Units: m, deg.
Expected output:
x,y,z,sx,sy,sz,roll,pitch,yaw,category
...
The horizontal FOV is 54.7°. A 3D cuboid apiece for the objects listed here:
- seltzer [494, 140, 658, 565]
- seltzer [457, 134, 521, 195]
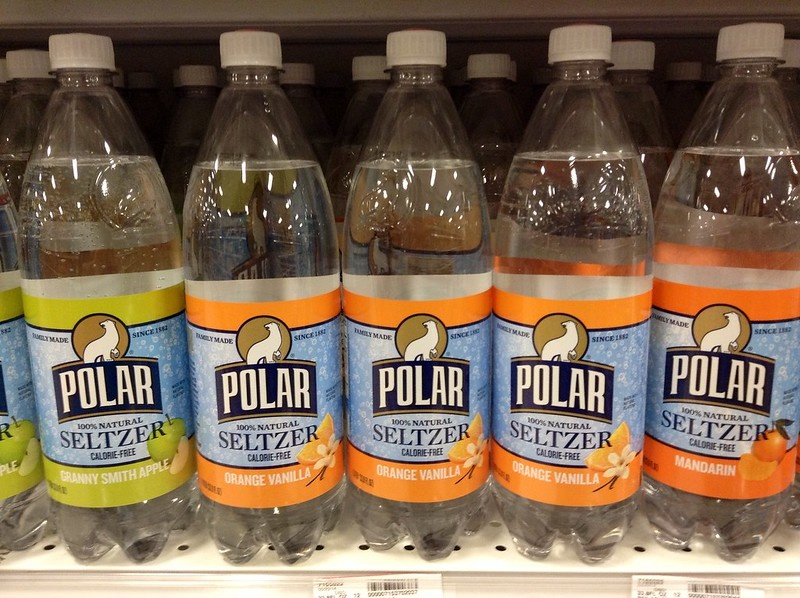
x,y,z,sx,sy,sz,roll,pitch,yaw,category
0.269,0.082,1.206,0.247,0.615,0.210,-1,12,17,seltzer
0.165,-0.255,1.472,0.108,0.112,0.107,-1,6,-1,seltzer
